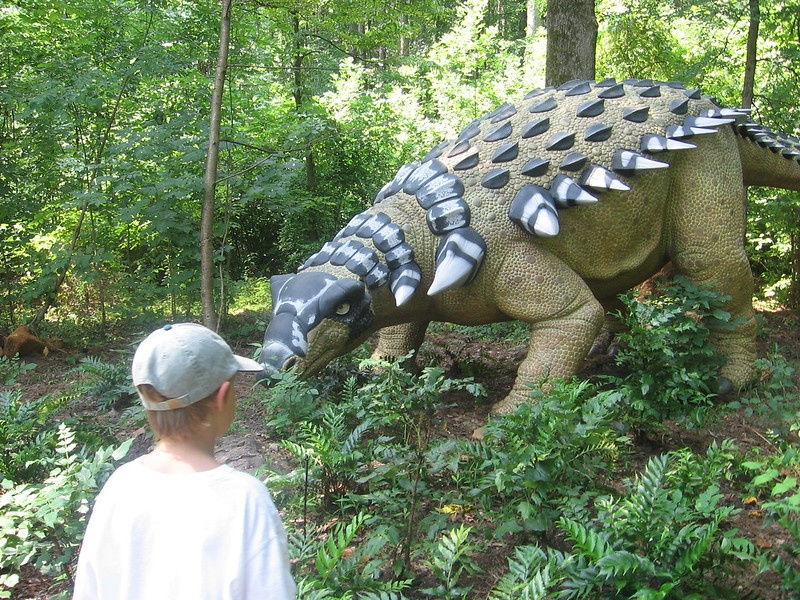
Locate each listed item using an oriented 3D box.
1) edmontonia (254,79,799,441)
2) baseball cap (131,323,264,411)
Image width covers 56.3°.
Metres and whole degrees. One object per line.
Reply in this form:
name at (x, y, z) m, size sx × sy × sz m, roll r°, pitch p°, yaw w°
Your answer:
edmontonia at (1.492, -0.782, 7.230) m, size 6.119 × 1.955 × 2.141 m, roll -24°, pitch 25°, yaw -17°
baseball cap at (-1.011, 0.311, 3.815) m, size 0.552 × 0.280 × 0.376 m, roll -15°, pitch 22°, yaw -36°
